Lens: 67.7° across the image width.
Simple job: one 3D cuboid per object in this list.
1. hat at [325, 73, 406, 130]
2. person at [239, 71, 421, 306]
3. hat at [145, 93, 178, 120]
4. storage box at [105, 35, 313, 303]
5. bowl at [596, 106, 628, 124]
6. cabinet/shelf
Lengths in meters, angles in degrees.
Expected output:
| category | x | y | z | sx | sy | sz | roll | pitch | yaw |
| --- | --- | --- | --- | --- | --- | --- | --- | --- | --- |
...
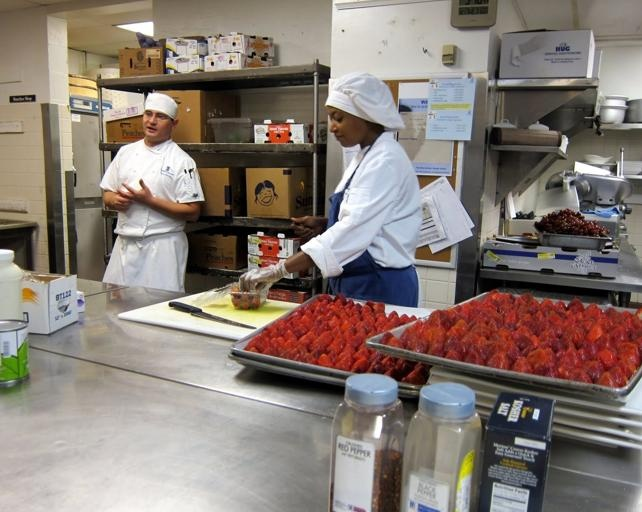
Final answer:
| category | x | y | z | sx | sy | sz | roll | pitch | yaw |
| --- | --- | --- | --- | --- | --- | --- | --- | --- | --- |
| hat | 0.178 | -0.610 | 1.965 | 0.262 | 0.142 | 0.201 | 6 | 12 | -27 |
| person | 0.036 | -0.366 | 2.520 | 0.865 | 1.615 | 0.969 | 4 | 10 | 9 |
| hat | -1.086 | -1.029 | 3.249 | 0.165 | 0.121 | 0.204 | 2 | 19 | -36 |
| storage box | -0.751 | -0.631 | 3.324 | 2.004 | 1.941 | 0.640 | -1 | -3 | 20 |
| bowl | 2.837 | -1.351 | 4.611 | 0.349 | 0.177 | 0.135 | -6 | 13 | -26 |
| cabinet/shelf | -0.693 | -0.541 | 3.264 | 1.808 | 1.744 | 0.593 | 0 | 5 | 19 |
